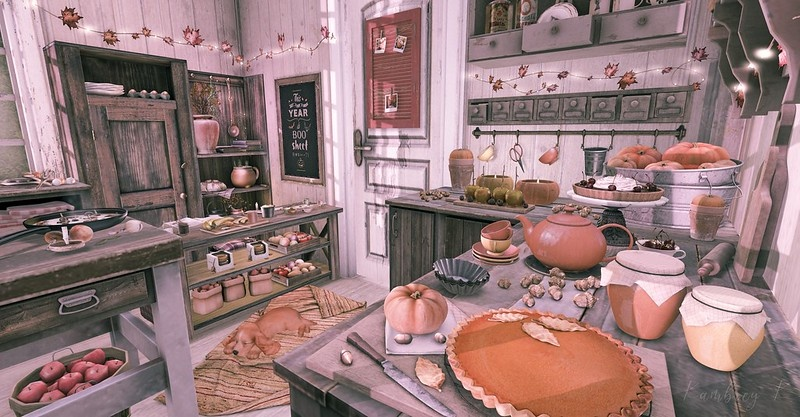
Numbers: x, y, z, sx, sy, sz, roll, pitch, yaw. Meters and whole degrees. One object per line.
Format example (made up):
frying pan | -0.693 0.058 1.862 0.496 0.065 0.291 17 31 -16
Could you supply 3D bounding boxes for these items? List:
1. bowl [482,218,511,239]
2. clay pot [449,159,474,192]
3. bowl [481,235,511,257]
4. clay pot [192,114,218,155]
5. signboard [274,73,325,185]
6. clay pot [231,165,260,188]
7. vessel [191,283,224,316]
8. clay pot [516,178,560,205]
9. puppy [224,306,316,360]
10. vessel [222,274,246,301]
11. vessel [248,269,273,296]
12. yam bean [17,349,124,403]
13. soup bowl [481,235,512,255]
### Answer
bowl | 0.716 0.142 3.082 0.176 0.070 0.141 3 22 37
clay pot | 0.645 -0.356 4.430 0.347 0.299 0.319 2 10 0
bowl | 0.712 0.260 3.075 0.182 0.107 0.185 0 10 0
clay pot | -2.635 -1.007 5.637 0.192 0.525 0.311 13 20 41
signboard | -1.368 -1.162 5.745 1.113 1.465 0.073 8 17 33
clay pot | -2.280 -0.482 6.202 0.316 0.238 0.389 2 3 24
vessel | -2.147 0.999 4.594 0.253 0.329 0.363 7 11 30
clay pot | 1.340 -0.184 4.002 0.315 0.168 0.301 0 6 0
puppy | -1.342 1.279 4.364 0.597 0.439 0.660 -2 -2 22
vessel | -1.936 0.914 4.811 0.242 0.298 0.330 6 9 32
vessel | -1.697 0.873 5.104 0.333 0.275 0.308 -2 8 -21
yam bean | -2.646 1.337 3.331 0.730 0.256 0.417 -9 15 -33
soup bowl | 0.710 0.268 3.077 0.175 0.089 0.160 2 9 0
